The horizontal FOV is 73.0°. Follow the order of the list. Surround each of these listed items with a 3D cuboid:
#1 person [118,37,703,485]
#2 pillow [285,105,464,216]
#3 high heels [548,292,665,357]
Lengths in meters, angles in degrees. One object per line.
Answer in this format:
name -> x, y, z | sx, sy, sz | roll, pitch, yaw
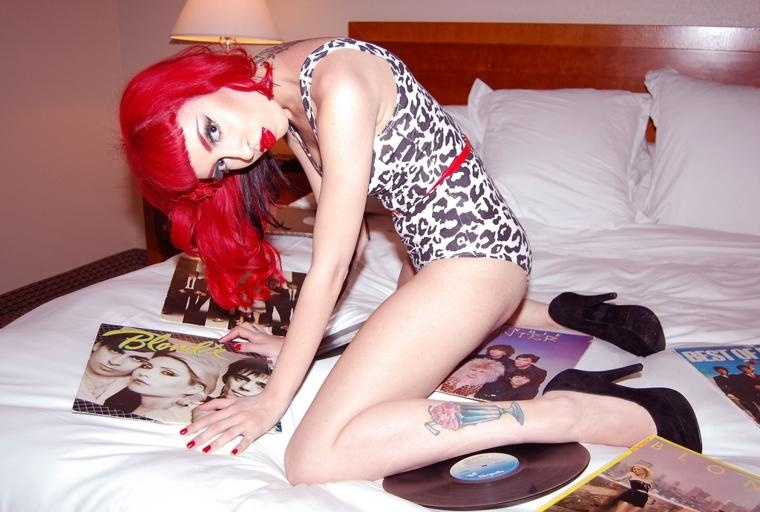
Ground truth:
person -> 0.100, -0.017, 1.513 | 1.704, 0.823, 1.055 | 7, 17, -5
pillow -> 0.092, -0.295, 1.421 | 0.453, 0.293, 0.260 | -30, 23, -28
high heels -> 0.675, 0.184, 1.545 | 0.378, 0.114, 0.109 | 21, 17, -9
